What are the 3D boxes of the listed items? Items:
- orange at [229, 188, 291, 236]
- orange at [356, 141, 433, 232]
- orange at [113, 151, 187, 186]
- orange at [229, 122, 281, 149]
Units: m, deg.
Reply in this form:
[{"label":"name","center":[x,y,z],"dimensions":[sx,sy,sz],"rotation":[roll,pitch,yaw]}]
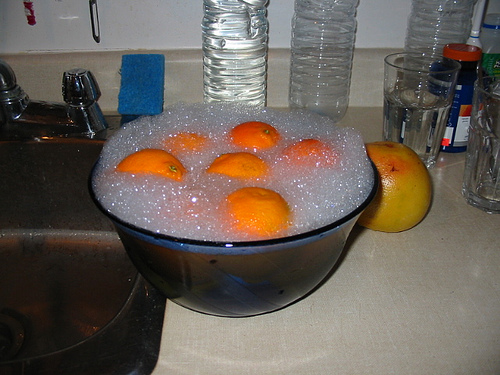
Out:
[{"label":"orange","center":[0.013,0.035,0.644],"dimensions":[0.066,0.039,0.072],"rotation":[5,35,-2]},{"label":"orange","center":[0.267,0.000,0.941],"dimensions":[0.155,0.155,0.155],"rotation":[-22,8,-4]},{"label":"orange","center":[-0.146,-0.035,0.700],"dimensions":[0.072,0.039,0.054],"rotation":[-8,20,-27]},{"label":"orange","center":[0.004,-0.083,0.760],"dimensions":[0.056,0.032,0.056],"rotation":[3,31,2]}]
